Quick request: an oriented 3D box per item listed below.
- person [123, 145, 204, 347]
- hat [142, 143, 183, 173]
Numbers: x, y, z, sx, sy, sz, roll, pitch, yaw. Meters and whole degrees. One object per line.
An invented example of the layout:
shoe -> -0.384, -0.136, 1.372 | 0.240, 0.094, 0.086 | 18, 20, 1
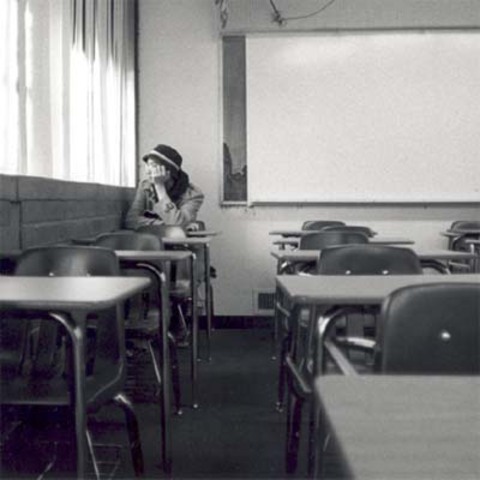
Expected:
person -> -0.584, 0.185, 4.056 | 0.563, 1.714, 0.569 | 4, 8, 15
hat -> -0.546, -0.595, 3.874 | 0.244, 0.098, 0.166 | 40, -28, -29
